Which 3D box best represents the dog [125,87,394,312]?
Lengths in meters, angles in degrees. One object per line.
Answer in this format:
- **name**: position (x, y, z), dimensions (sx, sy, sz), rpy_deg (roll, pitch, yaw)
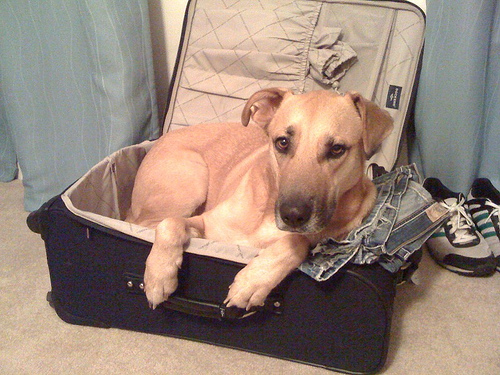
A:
- **dog**: position (0.003, -0.090, 2.508), dimensions (0.870, 0.930, 1.178), rpy_deg (-22, 43, -33)
